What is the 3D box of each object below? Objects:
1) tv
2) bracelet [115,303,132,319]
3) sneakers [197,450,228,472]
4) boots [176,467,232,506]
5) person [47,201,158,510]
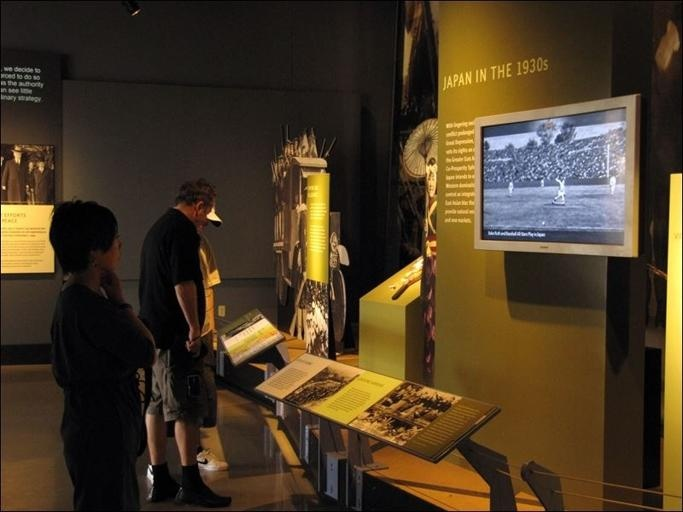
[{"bbox_3d":[1.420,-0.514,3.677,1.059,0.931,0.076,2,3,45],"label":"tv"},{"bbox_3d":[-1.134,0.288,2.963,0.039,0.058,0.185,-4,-9,7],"label":"bracelet"},{"bbox_3d":[-1.044,1.635,4.578,0.256,0.116,0.120,3,-1,7],"label":"sneakers"},{"bbox_3d":[-0.982,1.612,4.066,0.427,0.320,0.205,2,-4,-6],"label":"boots"},{"bbox_3d":[-1.193,0.514,2.875,0.462,1.584,0.240,-4,5,-28],"label":"person"}]
